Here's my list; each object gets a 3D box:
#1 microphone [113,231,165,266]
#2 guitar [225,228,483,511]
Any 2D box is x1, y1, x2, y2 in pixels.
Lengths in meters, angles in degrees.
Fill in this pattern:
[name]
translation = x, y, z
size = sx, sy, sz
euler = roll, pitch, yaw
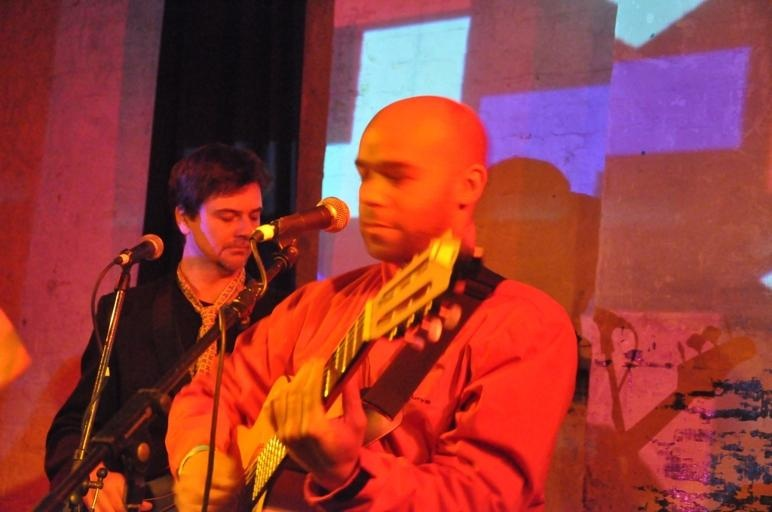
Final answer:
[microphone]
translation = -1.257, -0.020, 3.995
size = 0.139, 0.150, 0.255
euler = 4, 12, 19
[guitar]
translation = -0.107, 0.639, 3.498
size = 0.172, 1.634, 0.642
euler = 19, 25, -39
